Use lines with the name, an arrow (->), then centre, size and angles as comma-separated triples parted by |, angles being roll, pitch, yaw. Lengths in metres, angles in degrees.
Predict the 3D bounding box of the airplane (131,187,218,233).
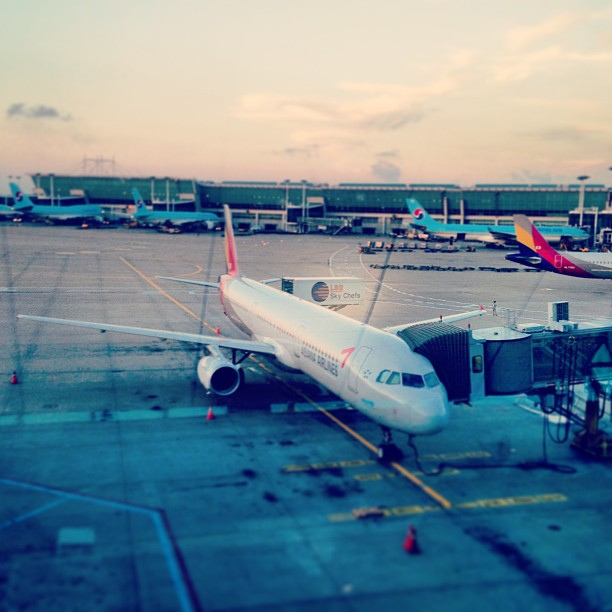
airplane -> -29.521, -21.050, 165.743 | 21.197, 6.117, 17.931 | 2, 4, -20
